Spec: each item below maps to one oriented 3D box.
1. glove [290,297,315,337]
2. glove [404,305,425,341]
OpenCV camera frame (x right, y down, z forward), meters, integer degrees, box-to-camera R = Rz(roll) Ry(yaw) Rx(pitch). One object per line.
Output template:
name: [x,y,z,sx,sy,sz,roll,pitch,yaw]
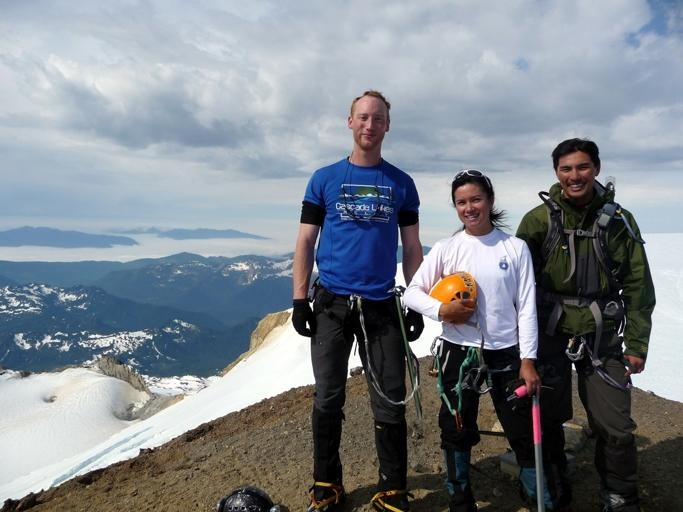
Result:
glove: [-0.645,0.947,7.307,0.198,0.537,0.405,-9,26,19]
glove: [1.090,1.006,7.133,0.330,0.441,0.160,2,-3,-4]
